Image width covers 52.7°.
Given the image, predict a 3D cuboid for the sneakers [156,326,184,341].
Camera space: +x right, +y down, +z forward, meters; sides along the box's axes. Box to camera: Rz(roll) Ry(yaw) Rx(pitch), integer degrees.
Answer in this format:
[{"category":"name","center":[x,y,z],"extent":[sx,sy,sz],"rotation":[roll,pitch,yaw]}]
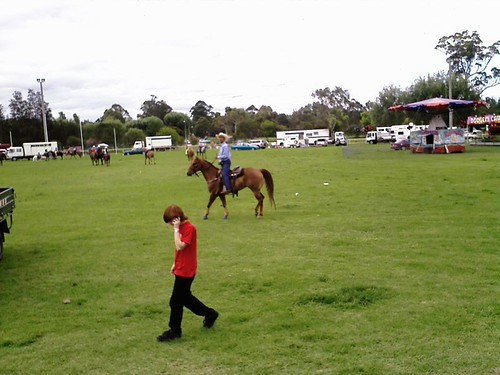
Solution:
[{"category":"sneakers","center":[-1.432,2.582,8.824],"extent":[0.378,0.183,0.171],"rotation":[3,-2,-17]}]

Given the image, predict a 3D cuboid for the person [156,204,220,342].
[{"category":"person","center":[-1.147,1.473,8.789],"extent":[1.012,2.324,0.411],"rotation":[-5,13,-14]}]

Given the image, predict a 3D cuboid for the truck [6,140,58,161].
[{"category":"truck","center":[-29.535,-4.729,67.890],"extent":[6.066,2.482,5.805],"rotation":[-10,16,-28]}]

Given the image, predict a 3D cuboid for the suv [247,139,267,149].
[{"category":"suv","center":[0.758,-6.441,78.669],"extent":[2.836,1.673,1.825],"rotation":[10,14,9]}]

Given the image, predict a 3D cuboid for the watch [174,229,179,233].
[{"category":"watch","center":[-1.262,0.751,8.622],"extent":[0.052,0.062,0.063],"rotation":[0,-1,0]}]

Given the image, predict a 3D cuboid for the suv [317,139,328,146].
[{"category":"suv","center":[11.599,-7.222,81.570],"extent":[1.682,0.783,2.618],"rotation":[-1,14,5]}]

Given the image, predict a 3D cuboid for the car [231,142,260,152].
[{"category":"car","center":[-0.686,-5.451,72.906],"extent":[3.758,1.324,1.728],"rotation":[-1,12,2]}]

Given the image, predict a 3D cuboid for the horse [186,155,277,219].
[{"category":"horse","center":[-0.615,0.090,16.401],"extent":[2.768,2.143,0.712],"rotation":[-2,6,1]}]

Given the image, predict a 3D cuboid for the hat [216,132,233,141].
[{"category":"hat","center":[-0.803,-1.571,15.630],"extent":[0.263,0.291,0.078],"rotation":[12,37,30]}]

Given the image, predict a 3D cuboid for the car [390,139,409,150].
[{"category":"car","center":[14.849,-4.261,49.663],"extent":[1.659,0.962,1.123],"rotation":[4,15,24]}]

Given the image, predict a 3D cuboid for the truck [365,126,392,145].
[{"category":"truck","center":[18.865,-7.611,73.542],"extent":[3.195,1.980,1.866],"rotation":[1,5,14]}]
